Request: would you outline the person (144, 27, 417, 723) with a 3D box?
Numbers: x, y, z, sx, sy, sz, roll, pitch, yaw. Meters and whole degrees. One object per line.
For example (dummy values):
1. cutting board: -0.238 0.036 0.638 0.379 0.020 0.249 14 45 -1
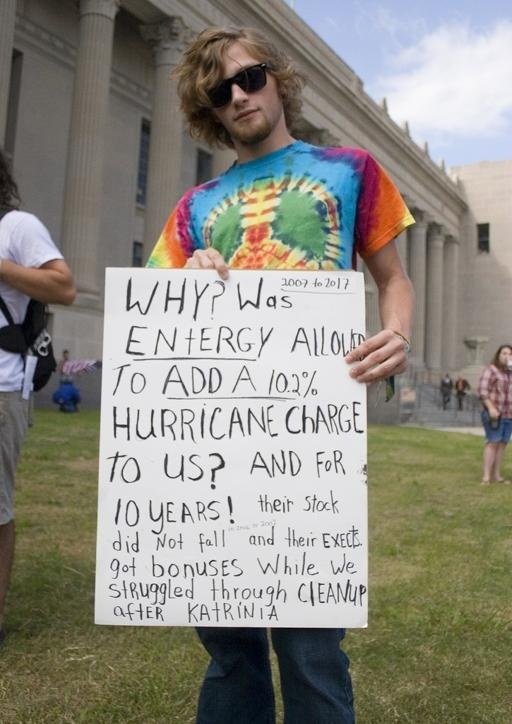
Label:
1. person: 0.026 0.043 2.541 0.943 2.106 0.616 9 5 23
